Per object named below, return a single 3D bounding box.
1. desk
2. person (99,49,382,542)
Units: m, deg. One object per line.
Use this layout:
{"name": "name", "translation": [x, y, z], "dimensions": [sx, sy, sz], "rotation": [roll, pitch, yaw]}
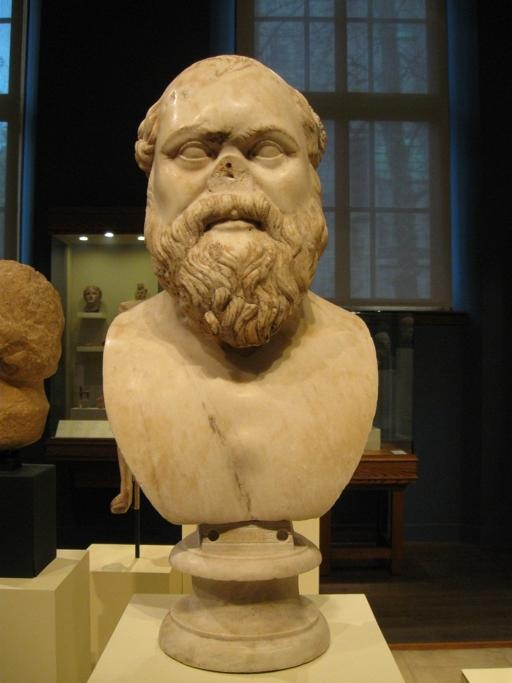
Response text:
{"name": "desk", "translation": [0.601, 0.952, 4.869], "dimensions": [0.649, 0.698, 0.691], "rotation": [3, -3, -14]}
{"name": "person", "translation": [-0.046, -0.128, 2.564], "dimensions": [0.867, 1.489, 0.432], "rotation": [4, 6, 7]}
